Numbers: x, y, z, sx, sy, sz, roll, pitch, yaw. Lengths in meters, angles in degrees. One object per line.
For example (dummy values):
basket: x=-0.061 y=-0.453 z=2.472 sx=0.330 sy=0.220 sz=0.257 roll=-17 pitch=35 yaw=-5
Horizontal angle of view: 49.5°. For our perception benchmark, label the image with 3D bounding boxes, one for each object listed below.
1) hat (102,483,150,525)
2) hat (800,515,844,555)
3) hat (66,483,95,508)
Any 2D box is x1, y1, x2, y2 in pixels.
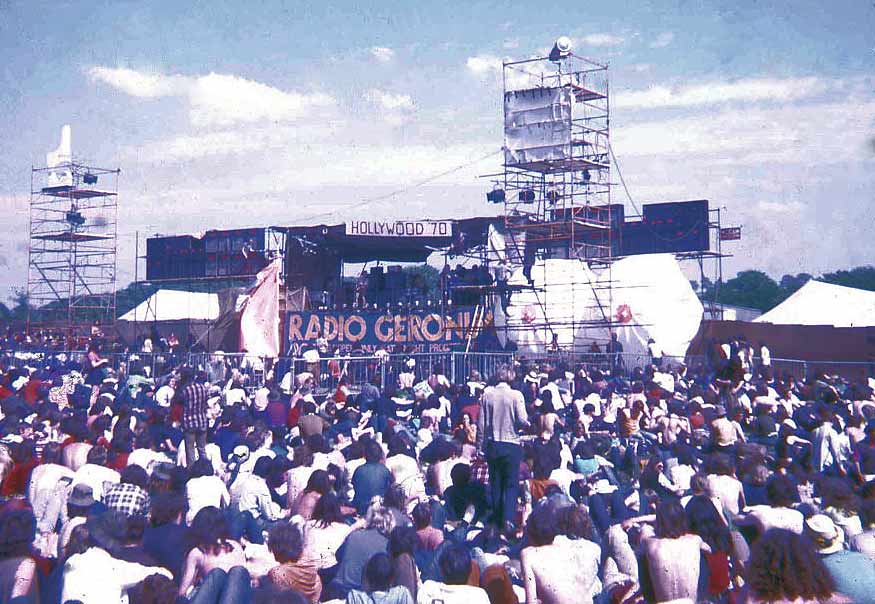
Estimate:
hat: x=-3.900 y=2.501 z=12.037 sx=0.649 sy=0.665 sz=0.363 roll=7 pitch=-15 yaw=-16
hat: x=4.278 y=2.616 z=10.579 sx=0.462 sy=0.183 sz=0.427 roll=26 pitch=64 yaw=42
hat: x=-4.402 y=2.421 z=11.820 sx=0.321 sy=0.268 sz=0.211 roll=-2 pitch=0 yaw=-24
